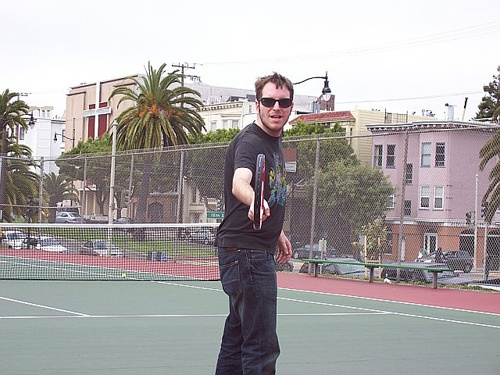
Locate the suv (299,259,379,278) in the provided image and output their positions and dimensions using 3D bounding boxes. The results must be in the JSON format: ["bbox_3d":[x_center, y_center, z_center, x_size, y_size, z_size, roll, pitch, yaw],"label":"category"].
[{"bbox_3d":[2.672,2.499,19.569,1.842,0.765,0.942,-3,2,-10],"label":"suv"}]
